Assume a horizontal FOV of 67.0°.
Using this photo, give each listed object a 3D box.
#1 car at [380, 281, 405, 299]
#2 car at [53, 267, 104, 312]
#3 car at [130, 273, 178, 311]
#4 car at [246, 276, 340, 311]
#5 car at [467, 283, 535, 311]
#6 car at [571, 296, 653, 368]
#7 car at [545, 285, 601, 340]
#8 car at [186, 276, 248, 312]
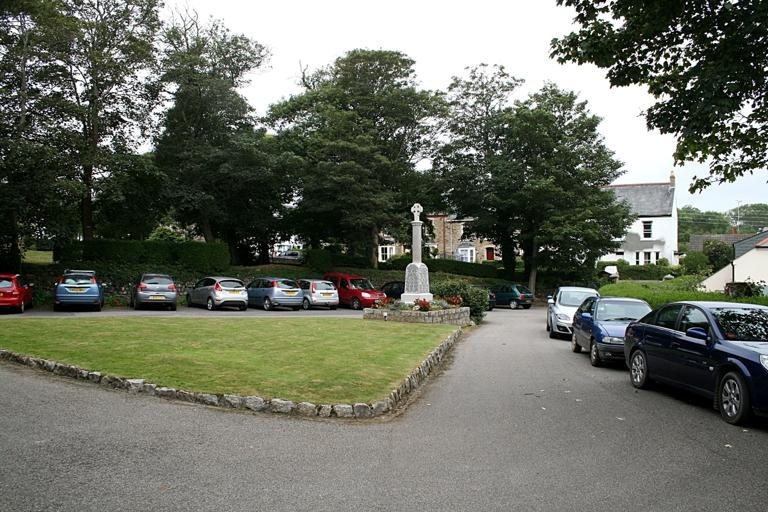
[{"bbox_3d":[0.551,2.164,37.201,1.529,0.728,0.877,-2,-1,24],"label":"car"},{"bbox_3d":[-13.589,1.425,26.061,1.459,1.155,2.420,0,2,-22],"label":"car"},{"bbox_3d":[-11.250,1.660,28.352,1.414,1.161,2.793,1,2,-23],"label":"car"},{"bbox_3d":[-4.929,2.035,31.211,4.079,1.867,2.702,-1,6,-35],"label":"car"},{"bbox_3d":[7.967,3.186,40.807,4.644,1.672,2.401,2,-1,37],"label":"car"},{"bbox_3d":[6.227,1.984,16.170,1.306,1.088,2.668,-1,-9,4],"label":"car"},{"bbox_3d":[6.771,1.961,21.320,1.389,1.054,2.368,-1,-8,9],"label":"car"},{"bbox_3d":[-8.401,1.874,29.337,1.468,1.733,3.291,-3,7,-43],"label":"car"}]
